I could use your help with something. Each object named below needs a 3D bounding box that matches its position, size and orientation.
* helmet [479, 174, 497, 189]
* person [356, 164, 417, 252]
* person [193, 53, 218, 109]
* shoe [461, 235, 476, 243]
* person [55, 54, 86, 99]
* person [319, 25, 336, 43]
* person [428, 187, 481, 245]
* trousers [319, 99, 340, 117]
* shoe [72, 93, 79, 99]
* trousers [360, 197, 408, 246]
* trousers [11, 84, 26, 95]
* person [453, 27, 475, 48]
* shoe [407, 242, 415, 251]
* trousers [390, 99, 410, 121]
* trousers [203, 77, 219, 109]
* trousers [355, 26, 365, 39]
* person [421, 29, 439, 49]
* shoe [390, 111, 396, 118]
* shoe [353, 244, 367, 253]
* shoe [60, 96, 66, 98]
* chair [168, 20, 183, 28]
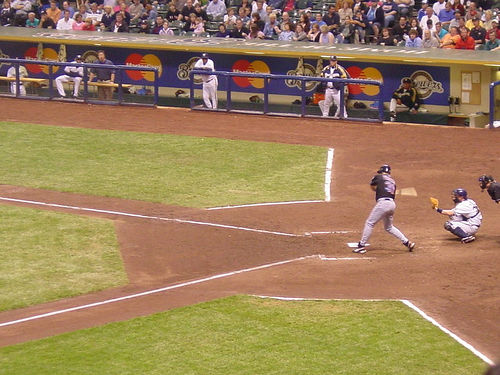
[{"bbox_3d":[5.279,-0.127,19.271,0.424,0.189,0.309,5,3,-13],"label":"helmet"},{"bbox_3d":[2.868,0.452,18.298,1.161,1.714,0.615,2,8,6],"label":"person"},{"bbox_3d":[-1.370,-3.469,28.777,0.740,1.792,0.675,0,9,-11],"label":"person"},{"bbox_3d":[4.646,1.099,18.684,0.325,0.104,0.120,-11,4,16],"label":"shoe"},{"bbox_3d":[-6.113,-3.629,29.957,0.827,1.193,2.033,-1,7,-17],"label":"person"},{"bbox_3d":[2.638,-5.177,29.755,0.518,0.619,0.675,1,7,-1],"label":"person"},{"bbox_3d":[4.461,0.619,18.725,0.816,1.123,0.630,4,9,23],"label":"person"},{"bbox_3d":[2.528,-2.490,27.785,0.613,0.497,0.542,6,0,9],"label":"trousers"},{"bbox_3d":[-6.005,-3.142,30.305,0.182,0.137,0.223,28,-13,-5],"label":"shoe"},{"bbox_3d":[2.821,0.703,18.280,0.972,1.032,0.492,2,8,6],"label":"trousers"},{"bbox_3d":[-8.047,-3.467,31.067,0.822,0.385,0.368,3,11,6],"label":"trousers"},{"bbox_3d":[6.916,-4.787,28.177,0.571,0.652,0.714,1,7,2],"label":"person"},{"bbox_3d":[3.357,1.217,18.302,0.135,0.206,0.260,3,7,11],"label":"shoe"},{"bbox_3d":[4.695,-2.545,27.480,0.573,0.425,0.162,1,8,0],"label":"trousers"},{"bbox_3d":[-1.266,-3.098,28.850,0.466,1.036,0.369,4,9,16],"label":"trousers"},{"bbox_3d":[3.809,-5.299,30.031,0.142,0.350,0.347,-19,-6,44],"label":"trousers"},{"bbox_3d":[5.897,-4.836,28.605,0.575,0.584,0.435,2,8,7],"label":"person"},{"bbox_3d":[4.479,-2.295,27.485,0.225,0.197,0.070,-6,3,3],"label":"shoe"},{"bbox_3d":[2.303,1.279,18.207,0.363,0.175,0.100,3,24,2],"label":"shoe"},{"bbox_3d":[-6.455,-3.137,30.469,0.160,0.052,0.026,3,8,22],"label":"shoe"},{"bbox_3d":[-2.789,-6.192,33.364,0.483,0.129,0.287,2,39,6],"label":"chair"}]
